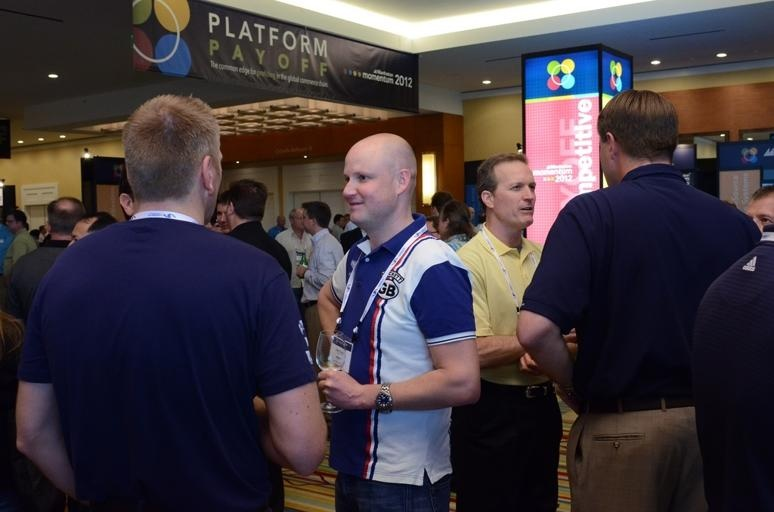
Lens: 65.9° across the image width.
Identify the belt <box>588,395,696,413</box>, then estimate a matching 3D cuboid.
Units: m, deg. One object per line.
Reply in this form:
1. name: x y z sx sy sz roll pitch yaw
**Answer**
1. belt: 0.920 0.549 2.179 0.371 0.076 0.060 -1 5 16
